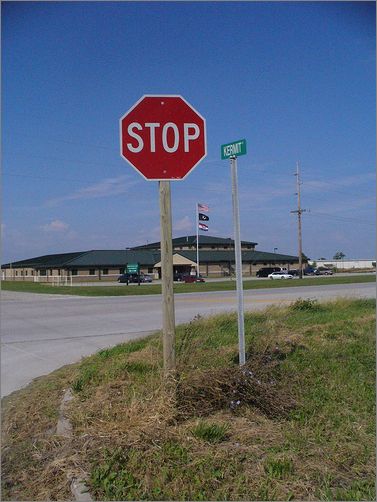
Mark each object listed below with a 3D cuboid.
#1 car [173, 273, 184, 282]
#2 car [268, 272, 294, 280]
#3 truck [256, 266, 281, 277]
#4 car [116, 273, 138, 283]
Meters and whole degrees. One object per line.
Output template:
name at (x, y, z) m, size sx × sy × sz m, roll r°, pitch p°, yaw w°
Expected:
car at (-1.361, 3.453, 59.782) m, size 1.343 × 1.006 × 2.980 m, roll 0°, pitch 5°, yaw 0°
car at (11.348, 3.045, 61.066) m, size 1.350 × 0.973 × 2.814 m, roll 0°, pitch 5°, yaw -41°
truck at (10.949, 2.914, 67.558) m, size 3.244 × 1.514 × 1.286 m, roll 5°, pitch 7°, yaw 35°
car at (-7.408, 3.356, 58.397) m, size 1.554 × 1.305 × 2.518 m, roll 0°, pitch 6°, yaw -43°
